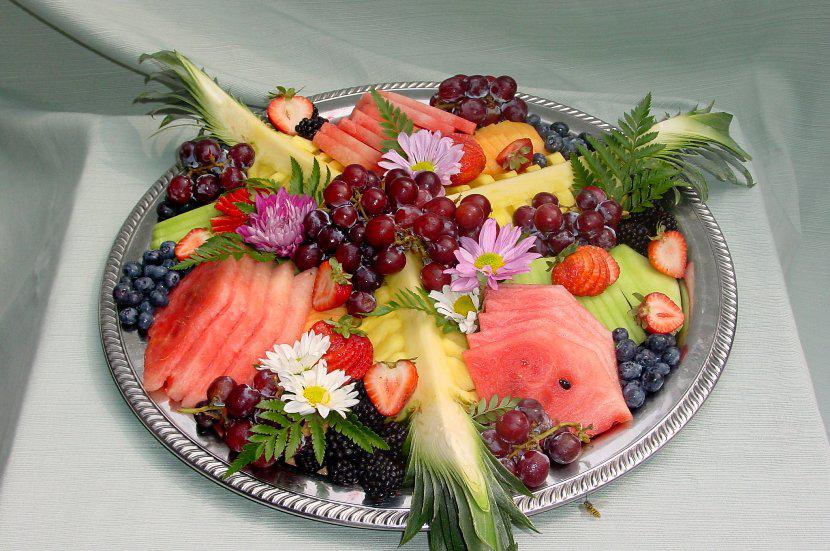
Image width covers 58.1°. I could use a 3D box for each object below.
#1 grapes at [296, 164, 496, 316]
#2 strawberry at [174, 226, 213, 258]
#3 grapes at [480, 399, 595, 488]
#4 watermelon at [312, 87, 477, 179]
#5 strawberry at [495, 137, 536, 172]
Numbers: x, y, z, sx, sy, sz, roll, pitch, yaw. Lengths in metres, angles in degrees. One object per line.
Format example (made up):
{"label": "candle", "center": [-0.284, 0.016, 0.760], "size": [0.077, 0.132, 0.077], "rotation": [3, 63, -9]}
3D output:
{"label": "grapes", "center": [-0.184, -0.180, 3.425], "size": [0.964, 0.618, 0.572], "rotation": [-27, 41, -29]}
{"label": "strawberry", "center": [-1.062, -0.162, 3.539], "size": [0.176, 0.046, 0.126], "rotation": [-33, -3, -23]}
{"label": "grapes", "center": [0.473, 0.663, 3.127], "size": [0.380, 0.306, 0.474], "rotation": [-16, 33, -30]}
{"label": "watermelon", "center": [-0.057, -0.730, 3.827], "size": [0.711, 0.248, 0.526], "rotation": [15, 44, 14]}
{"label": "strawberry", "center": [0.513, -0.608, 3.745], "size": [0.168, 0.171, 0.070], "rotation": [-8, 44, -14]}
